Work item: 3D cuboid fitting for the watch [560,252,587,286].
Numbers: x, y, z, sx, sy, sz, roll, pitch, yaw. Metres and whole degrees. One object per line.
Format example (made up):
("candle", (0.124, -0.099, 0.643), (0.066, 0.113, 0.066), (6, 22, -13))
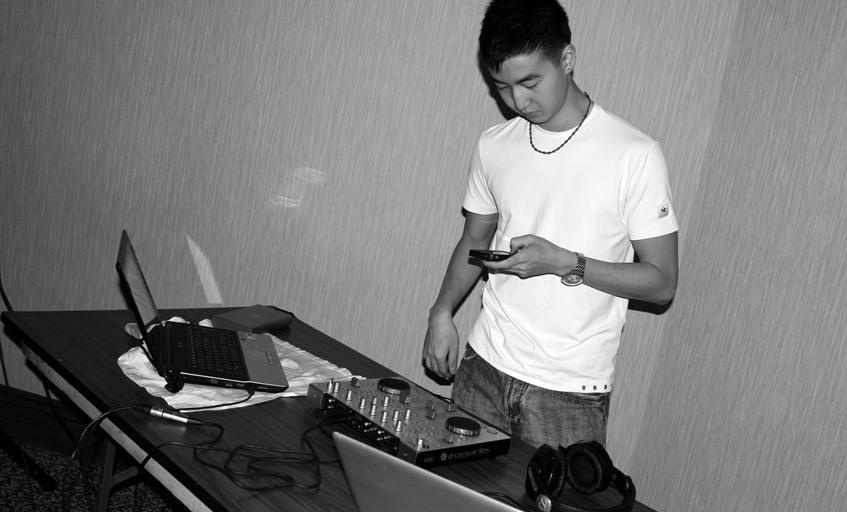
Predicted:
("watch", (0.476, 0.054, 1.868), (0.076, 0.108, 0.101), (14, 40, 2))

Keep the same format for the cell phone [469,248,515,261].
("cell phone", (0.210, 0.000, 1.857), (0.127, 0.033, 0.047), (-1, 19, 7))

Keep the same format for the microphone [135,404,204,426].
("microphone", (-0.769, 0.480, 1.755), (0.168, 0.028, 0.027), (12, 4, -2))

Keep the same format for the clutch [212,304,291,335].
("clutch", (-0.699, 0.261, 2.397), (0.166, 0.035, 0.157), (12, 13, 43))

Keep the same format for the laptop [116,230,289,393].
("laptop", (-0.772, 0.197, 2.050), (0.636, 0.362, 0.598), (9, 10, -35))
